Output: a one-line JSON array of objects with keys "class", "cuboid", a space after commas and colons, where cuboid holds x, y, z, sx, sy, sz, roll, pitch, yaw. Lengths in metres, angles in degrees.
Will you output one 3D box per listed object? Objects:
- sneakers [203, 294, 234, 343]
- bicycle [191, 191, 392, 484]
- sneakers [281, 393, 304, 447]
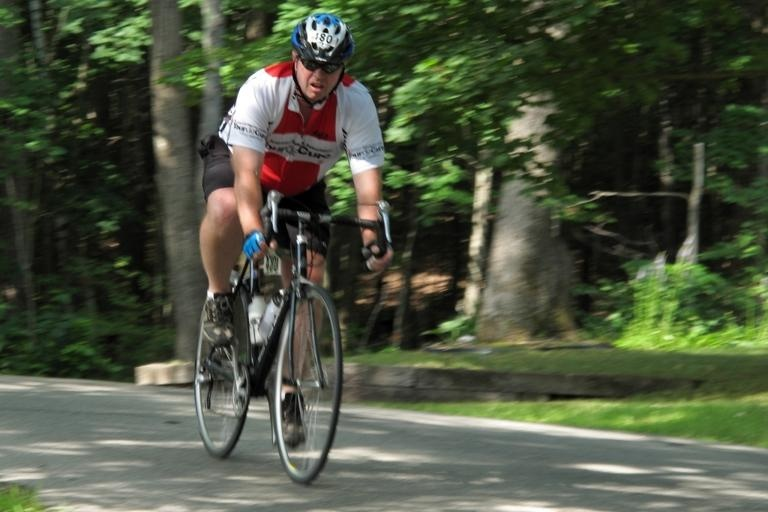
[{"class": "sneakers", "cuboid": [-1.509, 0.577, 9.139, 0.261, 0.464, 0.237, -3, -2, 1]}, {"class": "bicycle", "cuboid": [-0.965, 0.685, 8.631, 1.752, 2.360, 0.692, 0, -4, 45]}, {"class": "sneakers", "cuboid": [-0.752, 1.354, 8.337, 0.113, 0.352, 0.259, 3, -5, -39]}]
